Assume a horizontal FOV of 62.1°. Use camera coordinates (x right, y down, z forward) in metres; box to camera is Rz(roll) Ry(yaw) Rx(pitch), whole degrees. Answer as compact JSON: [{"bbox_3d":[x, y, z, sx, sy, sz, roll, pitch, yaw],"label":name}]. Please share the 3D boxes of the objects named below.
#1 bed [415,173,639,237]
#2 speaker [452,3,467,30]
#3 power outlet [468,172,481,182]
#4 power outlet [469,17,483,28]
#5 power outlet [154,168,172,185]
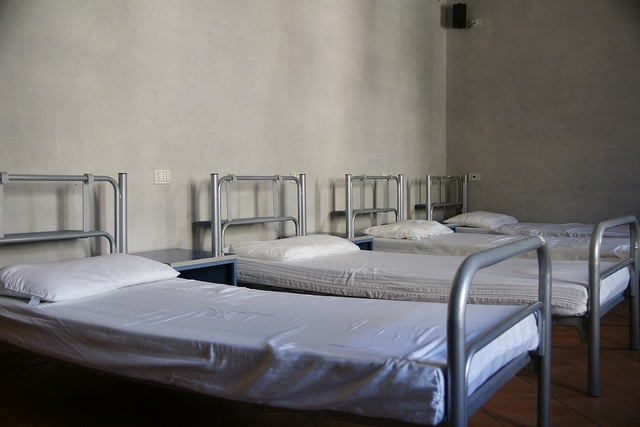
[{"bbox_3d":[2.217,-0.049,6.421,1.517,0.868,0.965,4,4,31],"label":"bed"},{"bbox_3d":[1.873,-2.660,7.148,0.199,0.329,0.144,2,10,13],"label":"speaker"},{"bbox_3d":[2.076,-0.463,7.193,0.191,0.126,0.098,0,-1,23],"label":"power outlet"},{"bbox_3d":[2.079,-2.556,7.111,0.149,0.113,0.036,1,8,28],"label":"power outlet"},{"bbox_3d":[-1.305,-0.307,4.388,0.019,0.103,0.143,7,8,42],"label":"power outlet"}]
